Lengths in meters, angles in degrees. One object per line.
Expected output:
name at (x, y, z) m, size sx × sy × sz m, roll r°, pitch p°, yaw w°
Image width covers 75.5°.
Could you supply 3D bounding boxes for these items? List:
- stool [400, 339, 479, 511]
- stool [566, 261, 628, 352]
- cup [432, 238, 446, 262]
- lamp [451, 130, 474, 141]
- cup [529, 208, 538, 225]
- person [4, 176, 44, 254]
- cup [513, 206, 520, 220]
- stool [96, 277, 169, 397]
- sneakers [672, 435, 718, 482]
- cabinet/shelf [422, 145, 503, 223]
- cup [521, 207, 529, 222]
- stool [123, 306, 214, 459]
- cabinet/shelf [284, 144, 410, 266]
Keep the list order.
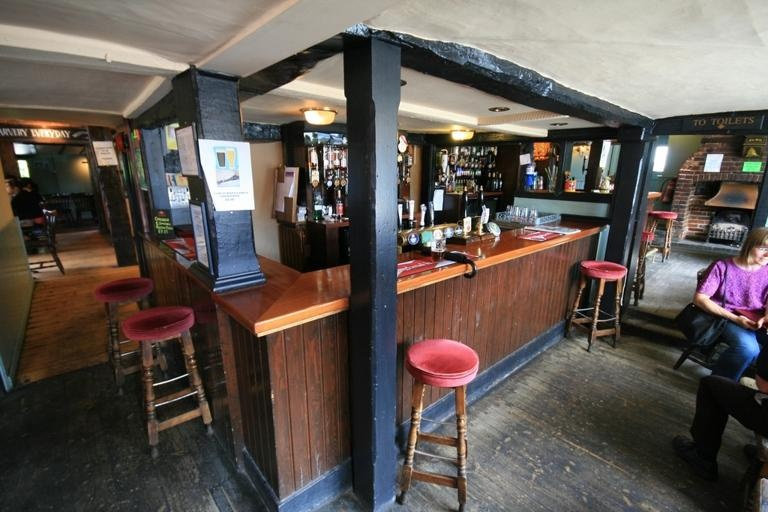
stool at (0.467, 1.403, 4.269) m, size 0.635 × 1.302 × 0.681 m, roll 1°, pitch 15°, yaw 10°
stool at (2.558, 0.539, 5.974) m, size 0.600 × 0.986 × 0.868 m, roll 6°, pitch 16°, yaw 26°
cup at (0.528, -0.056, 4.761) m, size 0.183 × 0.282 × 0.185 m, roll 1°, pitch -6°, yaw 0°
lamp at (1.218, -1.870, 7.694) m, size 0.268 × 0.092 × 0.257 m, roll -3°, pitch 18°, yaw -6°
cup at (1.852, -0.474, 6.181) m, size 0.110 × 0.168 × 0.267 m, roll 2°, pitch 14°, yaw 14°
person at (-6.022, -0.621, 8.407) m, size 0.411 × 1.422 × 1.456 m, roll -12°, pitch 17°, yaw -35°
cup at (1.693, -0.529, 6.278) m, size 0.065 × 0.139 × 0.120 m, roll 2°, pitch 14°, yaw 13°
stool at (-2.600, 0.874, 5.119) m, size 0.693 × 1.179 × 0.673 m, roll 27°, pitch 33°, yaw 36°
sneakers at (2.765, 1.789, 4.427) m, size 0.165 × 0.173 × 0.405 m, roll -10°, pitch 23°, yaw -5°
cabinet/shelf at (1.592, -1.445, 9.887) m, size 1.595 × 1.492 × 0.783 m, roll -6°, pitch 15°, yaw -17°
cup at (1.766, -0.507, 6.204) m, size 0.091 × 0.296 × 0.080 m, roll -4°, pitch -31°, yaw 16°
stool at (-2.101, 1.095, 4.771) m, size 0.596 × 1.209 × 0.924 m, roll -10°, pitch 16°, yaw -28°
cabinet/shelf at (-0.958, -0.691, 7.310) m, size 0.900 × 1.813 × 1.163 m, roll -9°, pitch 16°, yaw -25°
